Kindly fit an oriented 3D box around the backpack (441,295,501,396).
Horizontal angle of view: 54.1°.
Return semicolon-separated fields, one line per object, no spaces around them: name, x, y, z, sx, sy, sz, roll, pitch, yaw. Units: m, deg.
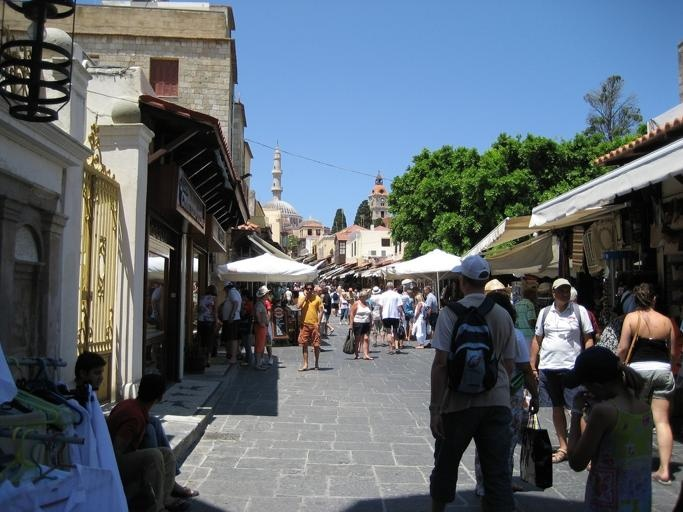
backpack;1.047;0.728;5.198;0.367;0.697;0.375;0;-1;7

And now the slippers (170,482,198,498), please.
slippers;-1.433;2.150;6.154;0.316;0.160;0.111;0;0;-3

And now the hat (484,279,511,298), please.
hat;1.622;0.330;7.091;0.348;0.173;0.443;1;-8;7

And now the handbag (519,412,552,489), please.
handbag;1.610;1.686;5.634;0.114;0.462;0.351;2;-6;-23

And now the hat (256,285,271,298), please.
hat;-1.614;0.734;13.726;0.229;0.117;0.266;-24;0;-10

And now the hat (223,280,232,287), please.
hat;-2.990;0.727;17.632;0.249;0.180;0.363;-1;-8;-7

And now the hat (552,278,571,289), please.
hat;2.333;0.292;7.148;0.143;0.113;0.287;-1;-6;8
